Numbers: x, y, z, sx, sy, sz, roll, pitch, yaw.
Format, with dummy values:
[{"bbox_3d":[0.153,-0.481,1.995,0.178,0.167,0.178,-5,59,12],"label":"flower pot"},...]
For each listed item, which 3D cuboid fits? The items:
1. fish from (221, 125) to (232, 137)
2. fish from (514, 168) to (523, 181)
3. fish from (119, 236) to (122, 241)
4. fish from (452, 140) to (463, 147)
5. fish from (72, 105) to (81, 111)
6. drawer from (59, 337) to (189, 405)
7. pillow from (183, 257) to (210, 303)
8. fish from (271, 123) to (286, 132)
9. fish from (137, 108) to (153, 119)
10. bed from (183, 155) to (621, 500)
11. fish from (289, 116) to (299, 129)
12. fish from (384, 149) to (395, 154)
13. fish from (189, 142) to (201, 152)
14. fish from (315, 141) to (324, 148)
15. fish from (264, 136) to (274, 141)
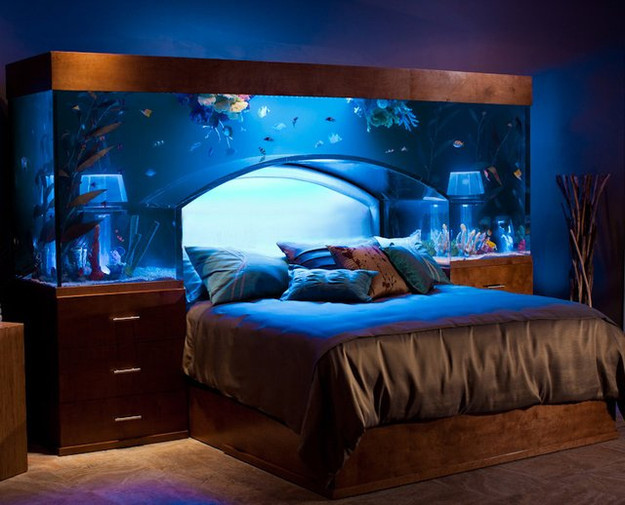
[{"bbox_3d":[-0.560,-0.806,3.502,0.062,0.064,0.064,3,3,17],"label":"fish"},{"bbox_3d":[1.724,-0.662,4.445,0.068,0.072,0.018,-19,-1,-25],"label":"fish"},{"bbox_3d":[-1.170,-0.086,3.231,0.007,0.028,0.027,5,-3,27],"label":"fish"},{"bbox_3d":[1.152,-0.871,4.214,0.053,0.053,0.013,6,0,-18],"label":"fish"},{"bbox_3d":[-1.369,-0.843,3.078,0.034,0.036,0.010,3,1,-25],"label":"fish"},{"bbox_3d":[-1.124,0.695,3.138,0.591,0.291,0.326,0,-1,-30],"label":"drawer"},{"bbox_3d":[-0.810,0.190,3.584,0.078,0.271,0.230,-10,9,30],"label":"pillow"},{"bbox_3d":[-0.238,-0.866,3.640,0.077,0.038,0.048,-18,16,-42],"label":"fish"},{"bbox_3d":[-1.020,-0.858,3.262,0.052,0.066,0.057,9,15,20],"label":"fish"},{"bbox_3d":[0.332,0.489,3.259,2.239,1.688,2.210,-3,3,-38],"label":"bed"},{"bbox_3d":[-0.118,-0.915,3.691,0.033,0.119,0.029,3,7,-25],"label":"fish"},{"bbox_3d":[0.584,-0.770,4.015,0.049,0.018,0.032,-26,3,-10],"label":"fish"},{"bbox_3d":[-0.758,-0.686,3.422,0.028,0.029,0.106,7,34,30],"label":"fish"},{"bbox_3d":[0.050,-0.771,3.777,0.053,0.035,0.013,-38,36,-26],"label":"fish"},{"bbox_3d":[-0.297,-0.786,3.630,0.058,0.029,0.020,-2,11,-26],"label":"fish"}]
